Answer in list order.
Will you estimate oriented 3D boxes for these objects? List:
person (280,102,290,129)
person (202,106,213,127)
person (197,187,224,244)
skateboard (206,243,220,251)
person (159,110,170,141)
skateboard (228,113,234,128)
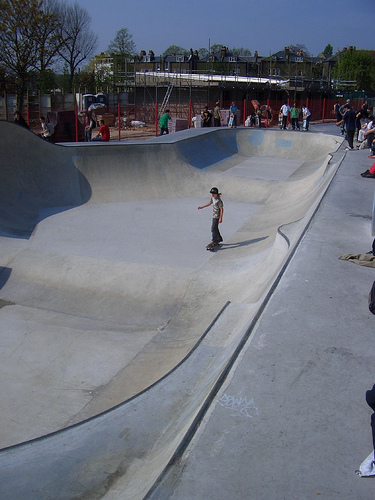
[{"bbox_3d":[5.020,-6.836,20.612,0.456,1.334,0.937,-7,7,16],"label":"person"},{"bbox_3d":[1.022,-6.706,20.565,0.516,0.959,1.071,-8,7,4],"label":"person"},{"bbox_3d":[0.560,-0.750,9.038,0.499,1.198,1.871,-8,6,3],"label":"person"},{"bbox_3d":[0.604,-0.065,8.899,0.445,0.120,0.224,-14,8,-37],"label":"skateboard"},{"bbox_3d":[-1.009,-5.631,17.788,0.492,1.150,1.966,-9,6,-2],"label":"person"},{"bbox_3d":[2.151,-6.270,19.517,0.095,0.691,0.186,-10,36,-30],"label":"skateboard"}]
